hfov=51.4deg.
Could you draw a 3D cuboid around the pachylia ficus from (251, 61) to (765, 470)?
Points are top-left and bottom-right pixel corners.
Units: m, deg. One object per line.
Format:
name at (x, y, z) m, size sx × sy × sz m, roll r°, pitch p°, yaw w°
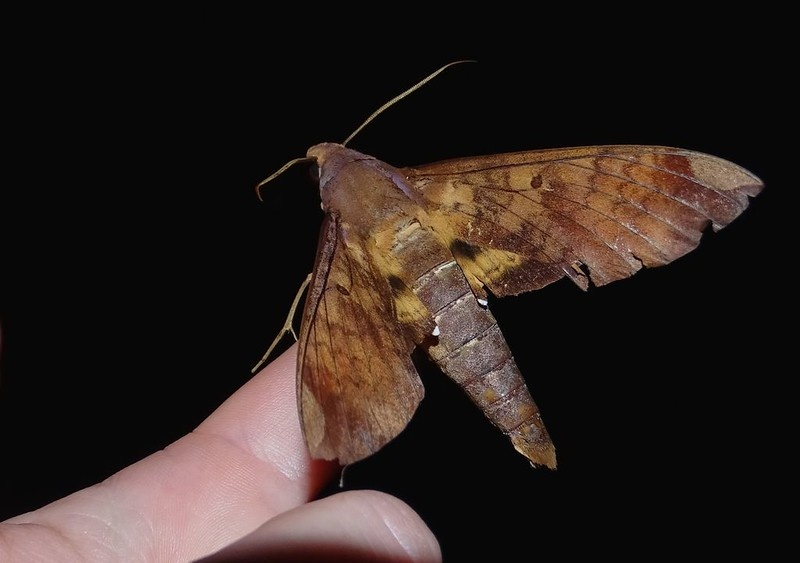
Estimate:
pachylia ficus at (0.456, 0.087, 3.252) m, size 1.650 × 0.451 × 1.252 m, roll 1°, pitch 68°, yaw 3°
